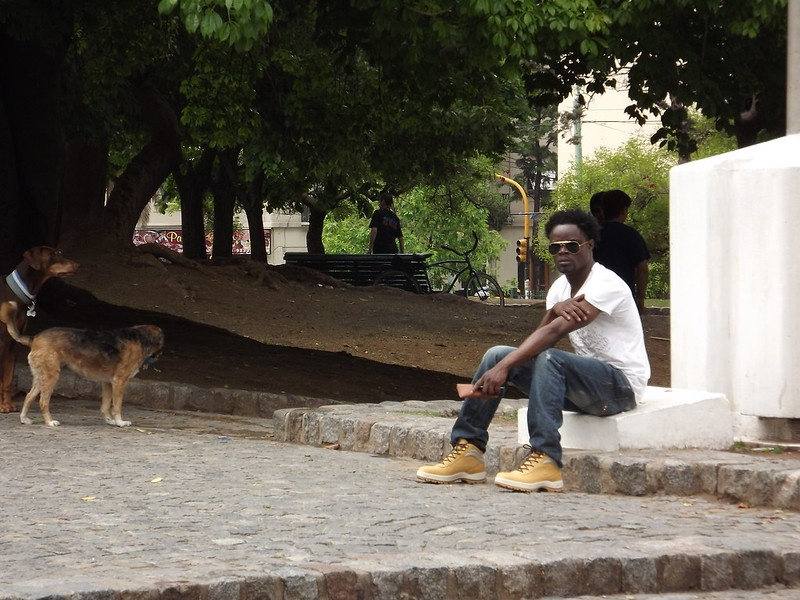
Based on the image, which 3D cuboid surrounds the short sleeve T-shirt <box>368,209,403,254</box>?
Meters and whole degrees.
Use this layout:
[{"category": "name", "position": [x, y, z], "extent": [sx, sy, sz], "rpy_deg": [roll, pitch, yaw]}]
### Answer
[{"category": "short sleeve T-shirt", "position": [-0.303, -1.408, 25.191], "extent": [0.588, 0.998, 1.170], "rpy_deg": [1, -5, 3]}]

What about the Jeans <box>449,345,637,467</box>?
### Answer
[{"category": "Jeans", "position": [1.042, 0.690, 9.384], "extent": [1.188, 0.605, 0.822], "rpy_deg": [-18, 8, -30]}]

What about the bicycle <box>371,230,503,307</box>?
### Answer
[{"category": "bicycle", "position": [0.857, -0.480, 26.260], "extent": [2.977, 1.777, 1.518], "rpy_deg": [1, -8, -26]}]

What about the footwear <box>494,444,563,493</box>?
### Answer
[{"category": "footwear", "position": [0.945, 1.262, 9.247], "extent": [0.495, 0.315, 0.226], "rpy_deg": [1, -5, 5]}]

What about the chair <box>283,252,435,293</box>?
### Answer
[{"category": "chair", "position": [-0.916, -0.563, 25.210], "extent": [2.955, 1.213, 0.970], "rpy_deg": [2, -21, -7]}]

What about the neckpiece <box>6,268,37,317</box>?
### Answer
[{"category": "neckpiece", "position": [-3.605, -0.071, 11.671], "extent": [0.134, 0.399, 0.302], "rpy_deg": [-34, -17, 2]}]
